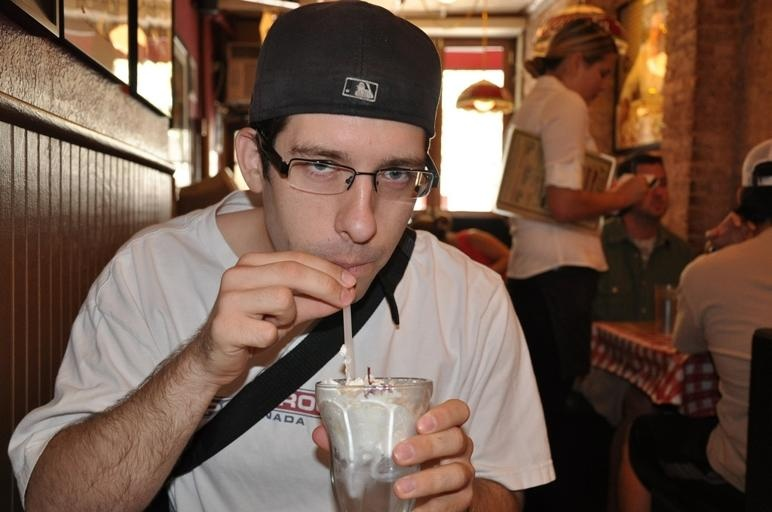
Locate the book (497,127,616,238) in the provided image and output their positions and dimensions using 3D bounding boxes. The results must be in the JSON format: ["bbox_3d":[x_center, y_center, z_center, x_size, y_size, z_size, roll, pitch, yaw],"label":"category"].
[{"bbox_3d":[0.930,-0.476,3.830,0.621,0.620,0.170,19,21,34],"label":"book"}]

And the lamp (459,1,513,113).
[{"bbox_3d":[1.113,-2.207,7.197,0.592,1.142,0.578,-2,-7,32],"label":"lamp"}]

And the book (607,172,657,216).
[{"bbox_3d":[1.487,-0.412,3.815,0.219,0.290,0.106,53,3,33],"label":"book"}]
